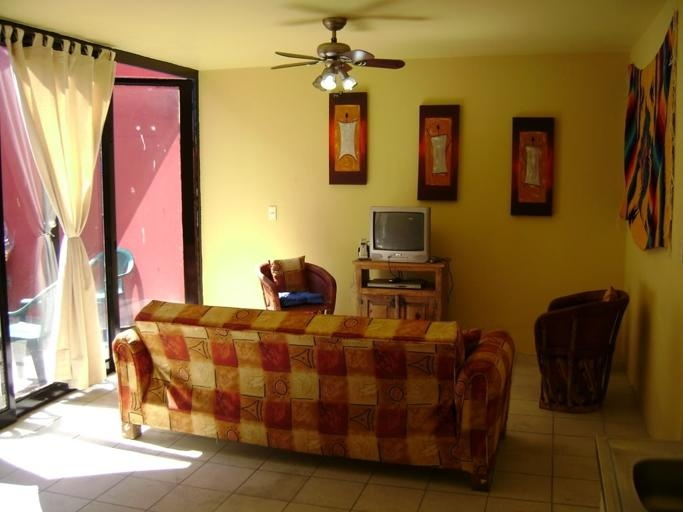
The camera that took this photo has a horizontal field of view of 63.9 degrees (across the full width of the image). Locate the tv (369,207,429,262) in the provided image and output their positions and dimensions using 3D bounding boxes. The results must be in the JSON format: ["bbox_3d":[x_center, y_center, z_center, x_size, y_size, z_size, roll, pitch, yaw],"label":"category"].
[{"bbox_3d":[0.632,-0.219,5.951,0.830,0.812,0.496,1,3,13],"label":"tv"}]

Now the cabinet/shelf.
[{"bbox_3d":[0.643,0.341,5.640,0.623,0.617,0.264,0,4,10],"label":"cabinet/shelf"}]

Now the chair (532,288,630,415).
[{"bbox_3d":[2.208,0.813,4.847,0.859,1.261,1.132,2,5,17],"label":"chair"}]

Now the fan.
[{"bbox_3d":[-0.099,-1.696,4.576,1.015,0.459,1.047,10,20,24],"label":"fan"}]

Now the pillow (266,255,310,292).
[{"bbox_3d":[-0.562,0.196,5.971,0.393,0.414,0.152,-9,18,-11],"label":"pillow"}]

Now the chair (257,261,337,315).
[{"bbox_3d":[-0.466,0.313,5.833,0.612,0.620,0.641,-2,5,-20],"label":"chair"}]
